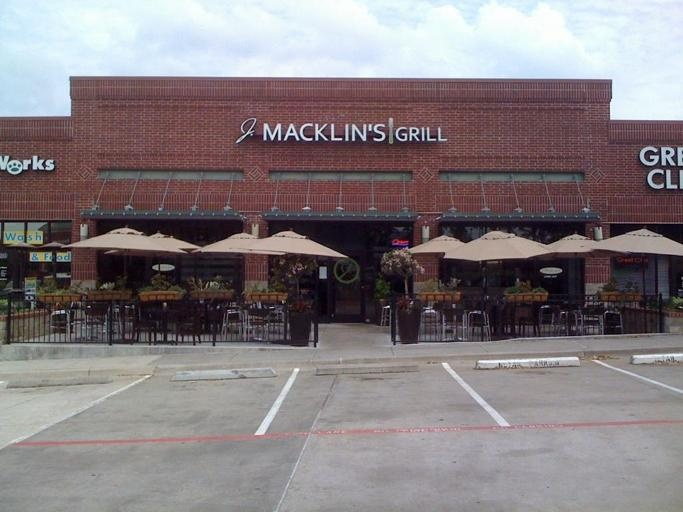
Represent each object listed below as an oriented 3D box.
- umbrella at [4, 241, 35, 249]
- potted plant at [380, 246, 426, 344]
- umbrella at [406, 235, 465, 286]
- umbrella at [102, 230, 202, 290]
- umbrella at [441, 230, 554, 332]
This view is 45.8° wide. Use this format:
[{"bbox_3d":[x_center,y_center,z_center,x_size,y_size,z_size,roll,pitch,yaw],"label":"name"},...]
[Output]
[{"bbox_3d":[-10.684,-0.304,26.869,0.939,0.277,1.073,-4,6,-22],"label":"umbrella"},{"bbox_3d":[1.605,1.062,21.641,1.196,2.535,1.423,1,3,41],"label":"potted plant"},{"bbox_3d":[2.952,0.219,24.349,2.227,1.509,2.023,4,-4,-28],"label":"umbrella"},{"bbox_3d":[-5.185,-0.041,22.474,1.962,0.854,1.980,-1,2,-32],"label":"umbrella"},{"bbox_3d":[4.417,0.829,23.825,3.337,2.078,3.321,-2,-1,30],"label":"umbrella"}]
